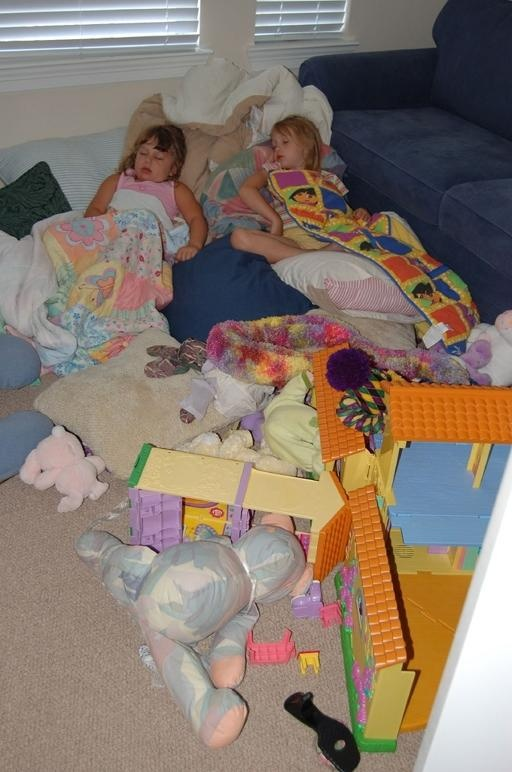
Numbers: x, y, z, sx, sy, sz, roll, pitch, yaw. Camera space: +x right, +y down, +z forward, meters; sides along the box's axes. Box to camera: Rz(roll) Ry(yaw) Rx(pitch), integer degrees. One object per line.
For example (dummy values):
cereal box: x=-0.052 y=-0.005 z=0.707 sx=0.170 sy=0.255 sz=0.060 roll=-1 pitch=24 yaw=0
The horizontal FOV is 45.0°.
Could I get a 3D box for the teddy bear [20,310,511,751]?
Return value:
teddy bear: x=-0.048 y=0.155 z=1.350 sx=0.818 sy=0.215 sz=0.811 roll=-3 pitch=36 yaw=-15
